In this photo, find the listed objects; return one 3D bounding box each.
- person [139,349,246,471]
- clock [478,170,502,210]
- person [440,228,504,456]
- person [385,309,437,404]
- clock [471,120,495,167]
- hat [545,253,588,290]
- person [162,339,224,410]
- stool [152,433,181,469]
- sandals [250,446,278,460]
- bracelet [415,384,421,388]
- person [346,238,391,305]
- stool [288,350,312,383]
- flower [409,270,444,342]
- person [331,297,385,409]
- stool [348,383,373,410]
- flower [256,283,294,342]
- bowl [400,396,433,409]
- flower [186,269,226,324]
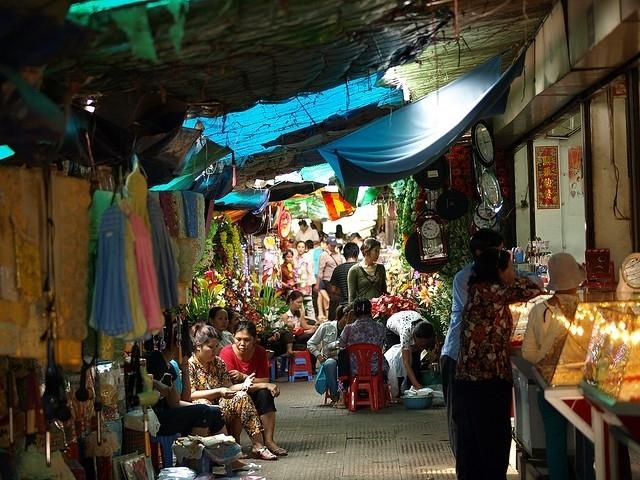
[{"bbox_3d":[-1.210,1.535,5.479,0.339,1.164,0.881,-4,-3,40],"label":"person"},{"bbox_3d":[2.097,-0.590,7.521,0.245,0.503,0.385,-3,-3,14],"label":"clock"},{"bbox_3d":[1.094,0.900,4.914,0.490,1.874,0.492,-2,6,-37],"label":"person"},{"bbox_3d":[1.192,1.604,8.327,0.570,1.230,1.648,-2,-3,-1],"label":"person"},{"bbox_3d":[1.912,-1.133,7.161,0.090,0.626,0.584,-3,11,40],"label":"clock"},{"bbox_3d":[1.697,0.204,4.252,0.292,0.188,0.366,-18,14,29],"label":"hat"},{"bbox_3d":[-1.287,1.381,5.874,0.552,0.855,0.749,-3,-3,1],"label":"person"},{"bbox_3d":[-1.335,1.852,5.347,0.105,0.314,0.327,-3,-3,13],"label":"stool"},{"bbox_3d":[-0.563,2.136,6.136,0.247,0.111,0.104,3,0,20],"label":"sandals"},{"bbox_3d":[1.330,1.993,8.262,0.042,0.045,0.011,14,-14,18],"label":"bracelet"},{"bbox_3d":[0.687,0.460,9.058,0.562,0.933,0.398,-2,-2,3],"label":"person"},{"bbox_3d":[-0.350,2.222,10.587,0.419,0.485,0.433,0,-8,-8],"label":"stool"},{"bbox_3d":[1.616,0.853,8.909,0.412,0.759,0.795,-5,-38,7],"label":"flower"},{"bbox_3d":[0.488,1.547,8.284,0.599,1.567,0.827,0,6,-17],"label":"person"},{"bbox_3d":[0.523,2.105,8.120,0.318,0.418,0.340,-1,-9,-1],"label":"stool"},{"bbox_3d":[-0.886,1.326,10.919,0.765,1.047,0.694,-6,-7,35],"label":"flower"},{"bbox_3d":[1.273,2.105,7.906,0.366,0.181,0.277,-3,-3,5],"label":"bowl"},{"bbox_3d":[-1.720,0.862,9.376,0.626,0.769,0.716,-1,7,9],"label":"flower"}]
